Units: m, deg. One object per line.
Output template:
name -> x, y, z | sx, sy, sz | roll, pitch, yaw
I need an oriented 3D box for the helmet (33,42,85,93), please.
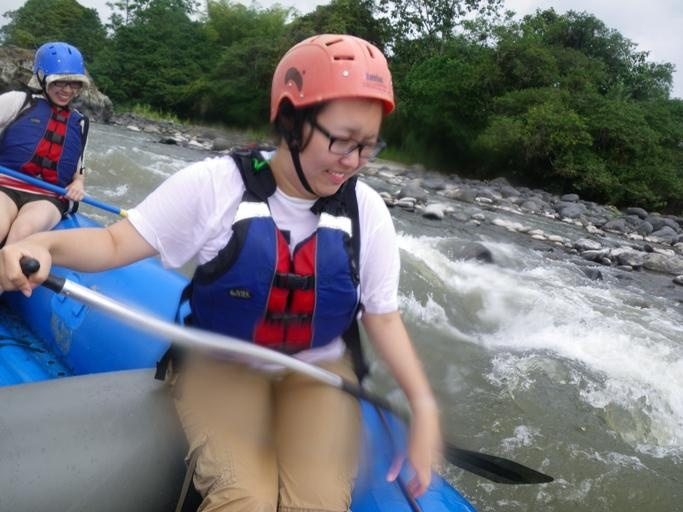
helmet -> -2.019, -1.339, 3.802 | 0.366, 0.352, 0.290 | 5, 12, 40

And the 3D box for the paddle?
paddle -> -0.239, 0.483, 2.139 | 1.878, 0.233, 0.207 | 28, 32, -8

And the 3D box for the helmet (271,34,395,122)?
helmet -> -0.034, -0.576, 1.812 | 0.331, 0.223, 0.273 | 1, 6, 37
